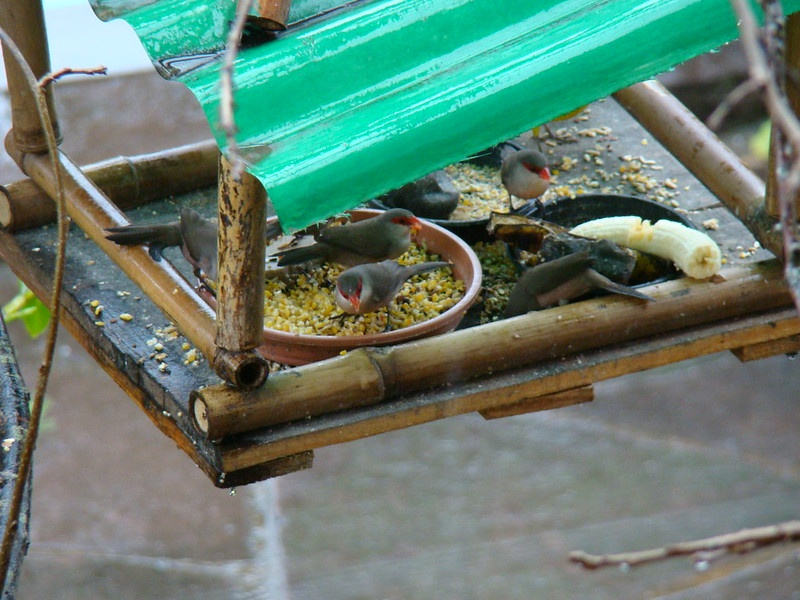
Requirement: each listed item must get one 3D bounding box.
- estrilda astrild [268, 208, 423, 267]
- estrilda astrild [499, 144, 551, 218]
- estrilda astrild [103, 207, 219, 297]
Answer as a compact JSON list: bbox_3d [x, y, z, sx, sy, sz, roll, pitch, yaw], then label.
[{"bbox_3d":[-0.149,-0.177,3.920,0.435,0.233,0.134,4,34,16],"label":"estrilda astrild"},{"bbox_3d":[0.380,-0.408,4.169,0.090,0.159,0.310,-7,50,-6],"label":"estrilda astrild"},{"bbox_3d":[-0.691,-0.129,3.827,0.305,0.124,0.101,32,34,0],"label":"estrilda astrild"}]
